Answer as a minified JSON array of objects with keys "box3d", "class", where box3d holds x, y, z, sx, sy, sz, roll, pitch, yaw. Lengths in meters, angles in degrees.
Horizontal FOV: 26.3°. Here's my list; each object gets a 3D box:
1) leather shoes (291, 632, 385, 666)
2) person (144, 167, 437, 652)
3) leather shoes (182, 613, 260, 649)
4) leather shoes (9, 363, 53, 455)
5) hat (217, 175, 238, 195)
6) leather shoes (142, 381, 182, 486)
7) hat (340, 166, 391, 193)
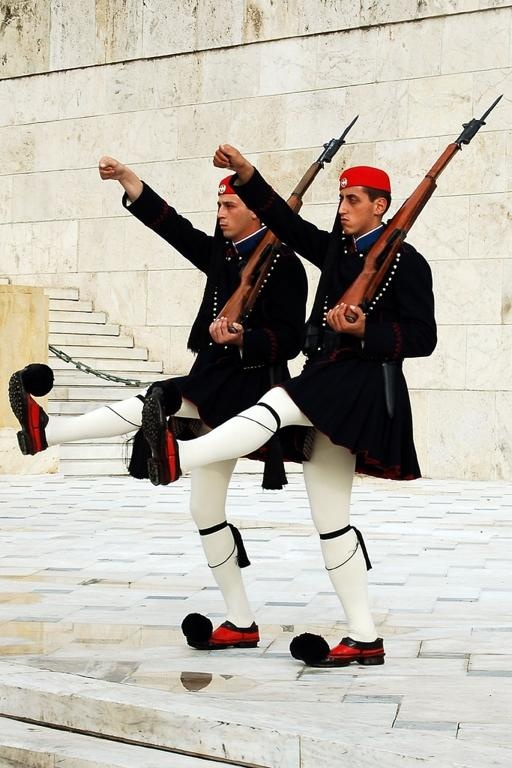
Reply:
[{"box3d":[0.257,0.820,3.401,0.318,0.114,0.110,8,-15,-23],"class":"leather shoes"},{"box3d":[0.196,0.101,3.496,0.783,1.585,0.615,3,8,-9],"class":"person"},{"box3d":[-0.114,0.822,3.673,0.312,0.119,0.102,9,-20,-34],"class":"leather shoes"},{"box3d":[-0.744,0.077,3.461,0.123,0.298,0.147,1,-1,30],"class":"leather shoes"},{"box3d":[-0.102,-0.661,3.657,0.079,0.074,0.104,-1,2,-2],"class":"hat"},{"box3d":[-0.270,0.140,3.176,0.154,0.300,0.110,14,-21,-38],"class":"leather shoes"},{"box3d":[0.355,-0.648,3.529,0.123,0.055,0.110,10,-6,-29],"class":"hat"}]
